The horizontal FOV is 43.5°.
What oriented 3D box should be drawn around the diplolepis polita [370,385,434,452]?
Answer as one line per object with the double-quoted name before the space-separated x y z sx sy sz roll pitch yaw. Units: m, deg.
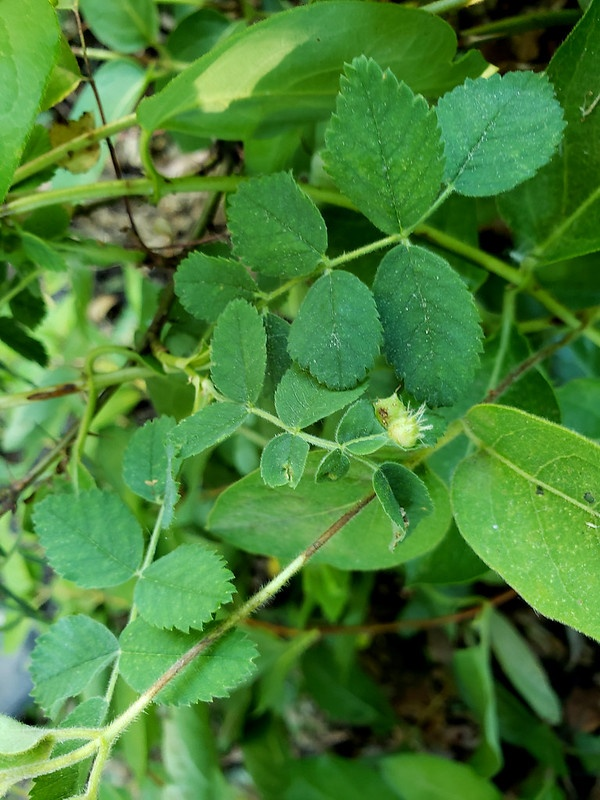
"diplolepis polita" 0.060 0.014 0.460 0.035 0.016 0.038 -29 72 -13
